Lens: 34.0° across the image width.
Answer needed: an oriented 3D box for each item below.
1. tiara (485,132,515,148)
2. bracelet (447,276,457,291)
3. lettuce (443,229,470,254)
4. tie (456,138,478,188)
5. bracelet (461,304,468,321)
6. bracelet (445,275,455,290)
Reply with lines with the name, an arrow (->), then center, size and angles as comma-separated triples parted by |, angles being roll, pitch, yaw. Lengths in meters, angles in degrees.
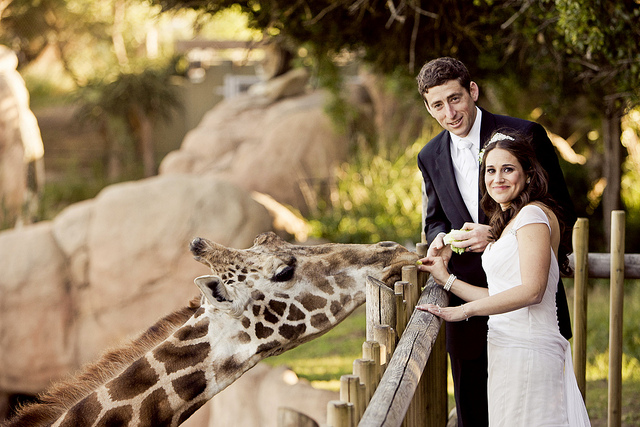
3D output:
tiara -> 1.736, -0.718, 10.160 | 0.285, 0.127, 0.124 | -5, 5, 11
bracelet -> 1.291, 0.701, 10.368 | 0.093, 0.104, 0.100 | 29, 3, 8
lettuce -> 1.350, 0.285, 10.421 | 0.259, 0.238, 0.192 | -4, 5, 7
tie -> 1.497, -0.530, 10.670 | 0.150, 0.526, 0.110 | 0, 17, 16
bracelet -> 1.373, 0.946, 10.002 | 0.022, 0.173, 0.021 | -26, 16, -22
bracelet -> 1.276, 0.686, 10.375 | 0.098, 0.122, 0.028 | -6, 5, -17
